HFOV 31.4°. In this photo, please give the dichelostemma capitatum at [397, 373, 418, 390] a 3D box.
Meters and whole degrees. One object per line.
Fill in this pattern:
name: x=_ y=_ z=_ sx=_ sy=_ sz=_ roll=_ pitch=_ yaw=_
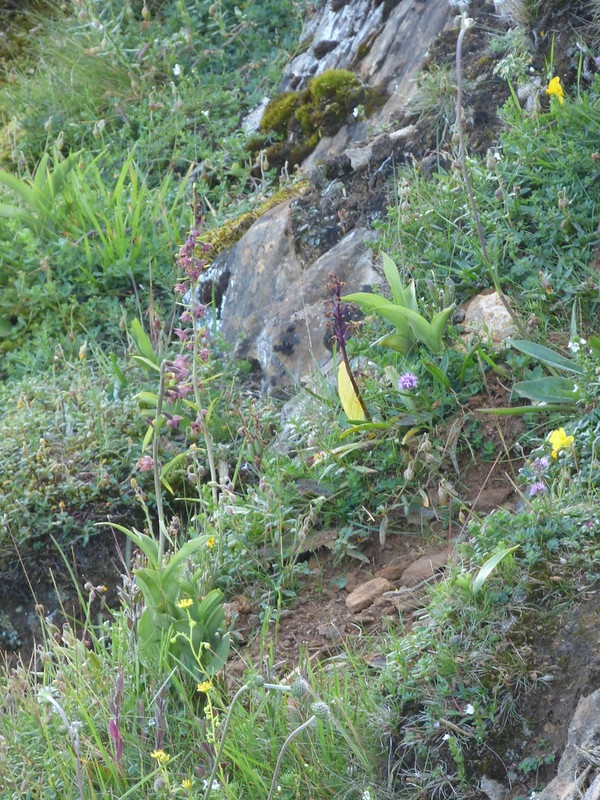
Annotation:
dichelostemma capitatum: x=0.374 y=-0.068 z=3.772 sx=0.053 sy=0.060 sz=0.036 roll=-1 pitch=-3 yaw=36
